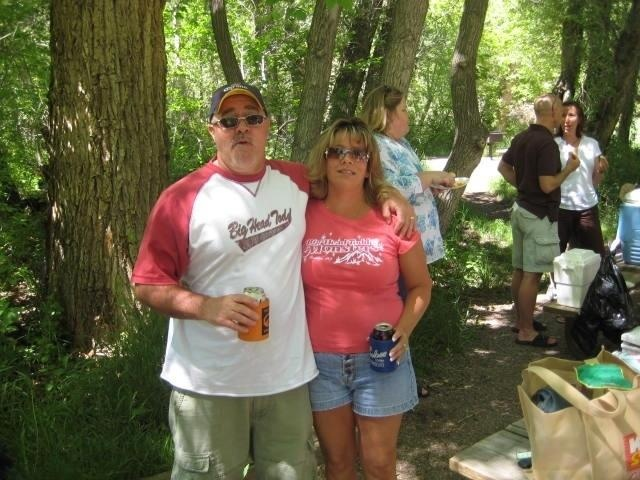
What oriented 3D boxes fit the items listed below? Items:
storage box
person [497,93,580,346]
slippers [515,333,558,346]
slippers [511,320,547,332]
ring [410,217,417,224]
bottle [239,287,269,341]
[{"bbox_3d":[3.170,0.707,6.424,0.316,0.927,1.343,1,-3,-26],"label":"storage box"},{"bbox_3d":[2.458,-0.217,6.338,0.572,2.816,0.686,0,7,-3],"label":"person"},{"bbox_3d":[2.461,1.087,6.365,0.338,0.095,0.174,0,9,18],"label":"slippers"},{"bbox_3d":[2.523,1.025,6.774,0.385,0.164,0.156,-6,6,5],"label":"slippers"},{"bbox_3d":[0.576,-0.129,3.482,0.051,0.025,0.067,0,-5,-1],"label":"ring"},{"bbox_3d":[-0.358,0.409,3.023,0.156,0.312,0.105,0,7,-3],"label":"bottle"}]
